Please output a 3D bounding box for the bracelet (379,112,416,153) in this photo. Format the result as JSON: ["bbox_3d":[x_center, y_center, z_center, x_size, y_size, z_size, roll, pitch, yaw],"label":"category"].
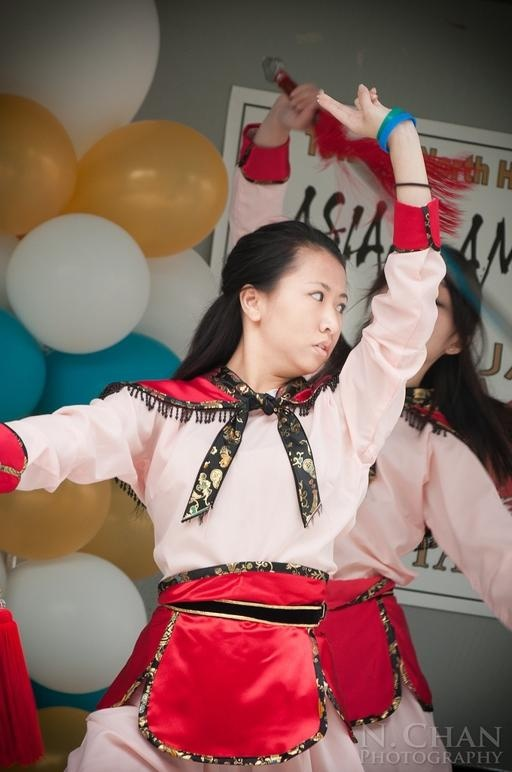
[{"bbox_3d":[0.240,-0.429,1.146,0.021,0.063,0.058,29,31,30],"label":"bracelet"}]

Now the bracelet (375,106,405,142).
[{"bbox_3d":[0.230,-0.442,1.148,0.018,0.054,0.046,39,32,4],"label":"bracelet"}]
